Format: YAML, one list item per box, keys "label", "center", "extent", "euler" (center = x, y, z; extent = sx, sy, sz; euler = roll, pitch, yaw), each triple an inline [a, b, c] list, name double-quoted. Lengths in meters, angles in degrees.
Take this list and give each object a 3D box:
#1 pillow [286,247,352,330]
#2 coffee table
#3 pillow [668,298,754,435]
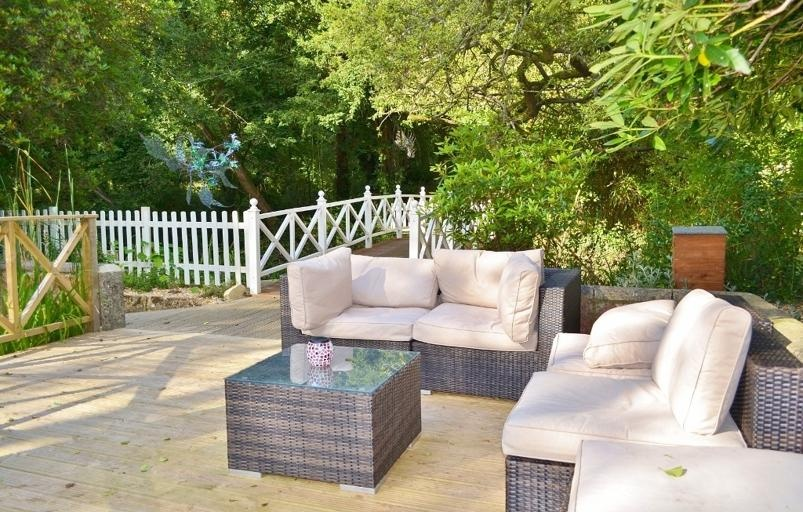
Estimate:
- label: "pillow"
  center: [-0.725, 0.314, 5.776]
  extent: [0.304, 0.566, 0.825]
  euler: [1, 9, 30]
- label: "coffee table"
  center: [-0.547, 1.126, 4.682]
  extent: [1.235, 0.765, 0.814]
  euler: [-2, 6, 13]
- label: "pillow"
  center: [1.818, 0.646, 3.820]
  extent: [0.438, 0.754, 0.252]
  euler: [-1, 7, 21]
